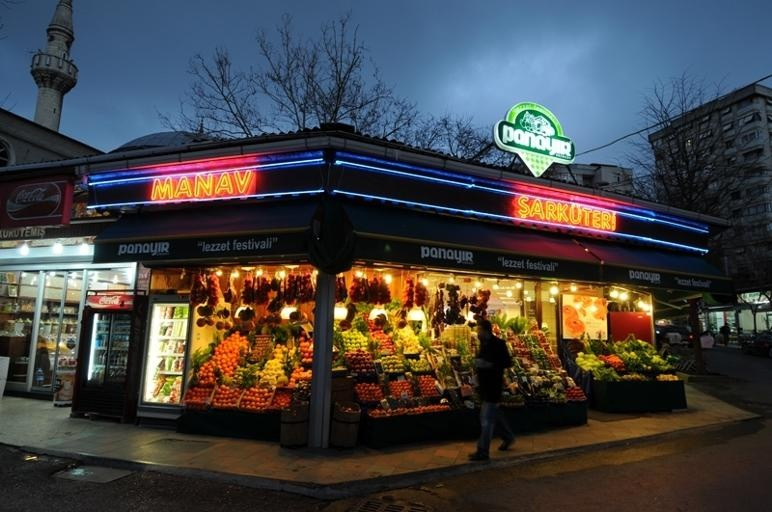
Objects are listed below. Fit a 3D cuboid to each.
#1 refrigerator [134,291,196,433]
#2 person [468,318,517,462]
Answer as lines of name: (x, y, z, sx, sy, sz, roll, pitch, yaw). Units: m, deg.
refrigerator: (-6.001, 2.809, 16.020, 1.699, 3.249, 1.378, 1, -1, 6)
person: (2.486, 3.095, 13.967, 1.200, 2.958, 1.261, -1, 0, 40)
